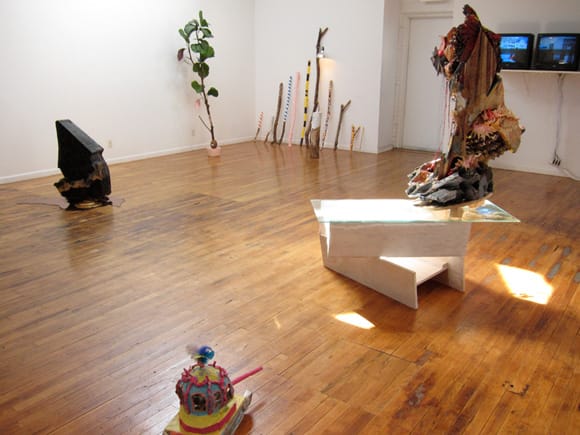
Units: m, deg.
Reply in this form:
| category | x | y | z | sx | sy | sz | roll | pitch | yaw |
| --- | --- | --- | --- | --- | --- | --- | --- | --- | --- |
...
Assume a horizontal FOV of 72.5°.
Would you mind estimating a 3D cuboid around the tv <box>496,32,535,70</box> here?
| category | x | y | z | sx | sy | sz | roll | pitch | yaw |
| --- | --- | --- | --- | --- | --- | --- | --- | --- | --- |
| tv | 3.441 | -2.548 | 6.034 | 0.445 | 0.554 | 0.321 | 7 | 23 | 27 |

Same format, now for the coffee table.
| category | x | y | z | sx | sy | sz | roll | pitch | yaw |
| --- | --- | --- | --- | --- | --- | --- | --- | --- | --- |
| coffee table | 0.894 | 0.225 | 3.172 | 1.391 | 0.794 | 0.671 | -2 | 20 | 4 |

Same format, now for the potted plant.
| category | x | y | z | sx | sy | sz | roll | pitch | yaw |
| --- | --- | --- | --- | --- | --- | --- | --- | --- | --- |
| potted plant | -1.810 | -2.776 | 8.141 | 0.737 | 2.823 | 1.286 | -7 | 21 | -8 |
